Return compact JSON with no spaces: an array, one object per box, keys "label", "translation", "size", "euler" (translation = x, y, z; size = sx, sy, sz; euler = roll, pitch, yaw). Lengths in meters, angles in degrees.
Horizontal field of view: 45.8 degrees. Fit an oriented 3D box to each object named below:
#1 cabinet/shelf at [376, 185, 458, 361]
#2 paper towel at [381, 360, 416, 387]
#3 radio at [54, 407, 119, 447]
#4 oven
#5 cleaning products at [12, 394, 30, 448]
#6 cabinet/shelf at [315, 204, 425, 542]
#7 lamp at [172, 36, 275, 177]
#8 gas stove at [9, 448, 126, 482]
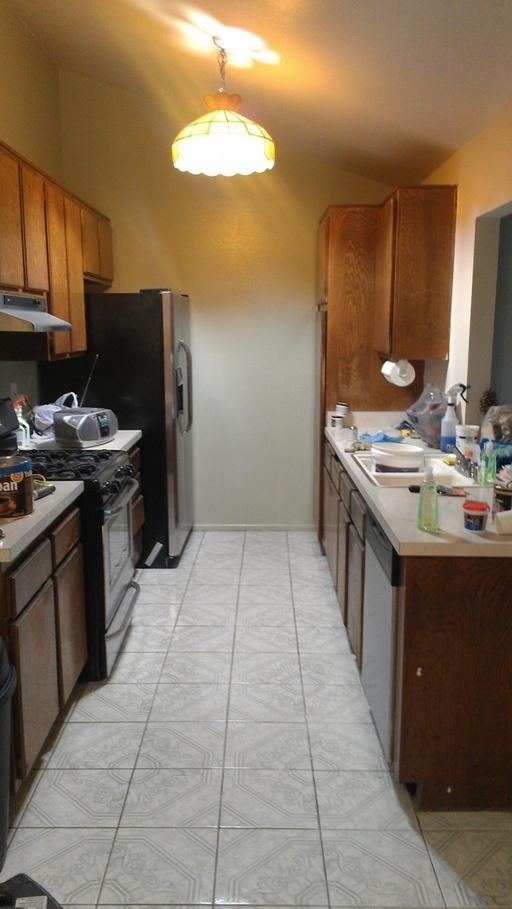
[{"label":"cabinet/shelf","translation":[0.724,-0.855,3.060],"size":[0.277,0.878,0.547],"euler":[0,9,2]},{"label":"paper towel","translation":[0.782,-0.452,3.294],"size":[0.086,0.171,0.100],"euler":[-23,25,-16]},{"label":"radio","translation":[-0.883,-0.146,3.140],"size":[0.211,0.186,0.342],"euler":[2,6,18]},{"label":"oven","translation":[-0.819,0.497,2.683],"size":[0.396,0.827,0.791],"euler":[-1,2,-15]},{"label":"cleaning products","translation":[-1.197,-0.177,3.096],"size":[0.072,0.258,0.506],"euler":[-2,6,-21]},{"label":"cabinet/shelf","translation":[0.584,-0.807,3.634],"size":[0.269,2.960,0.750],"euler":[0,10,1]},{"label":"lamp","translation":[-0.125,-1.324,2.304],"size":[0.353,0.457,0.387],"euler":[-3,6,-22]},{"label":"gas stove","translation":[-0.752,0.042,2.438],"size":[0.393,0.075,0.700],"euler":[0,10,2]}]
